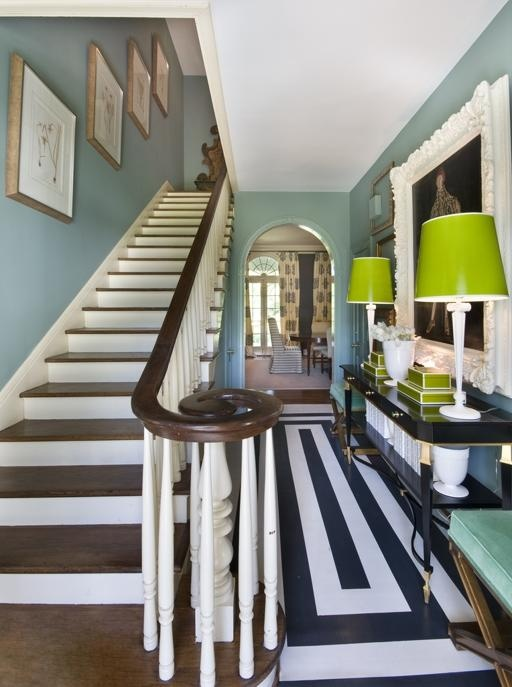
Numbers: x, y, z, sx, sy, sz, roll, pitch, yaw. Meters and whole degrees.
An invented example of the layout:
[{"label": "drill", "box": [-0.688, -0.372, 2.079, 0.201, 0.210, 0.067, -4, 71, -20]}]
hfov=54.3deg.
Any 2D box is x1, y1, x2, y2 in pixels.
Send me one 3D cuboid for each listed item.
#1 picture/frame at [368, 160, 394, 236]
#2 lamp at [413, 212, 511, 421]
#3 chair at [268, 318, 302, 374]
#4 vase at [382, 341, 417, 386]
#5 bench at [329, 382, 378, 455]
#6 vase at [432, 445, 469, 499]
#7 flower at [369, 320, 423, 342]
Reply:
[{"label": "picture/frame", "box": [1.037, -1.234, 4.372, 0.078, 0.530, 0.650, 7, 27, 33]}, {"label": "lamp", "box": [0.856, -0.101, 2.155, 0.361, 0.876, 0.364, 8, 8, 23]}, {"label": "chair", "box": [0.453, 0.029, 8.392, 0.629, 0.983, 0.731, -3, -2, 30]}, {"label": "vase", "box": [0.834, 0.099, 2.970, 0.206, 0.370, 0.230, 2, 5, 31]}, {"label": "bench", "box": [0.757, 0.677, 3.990, 0.331, 0.359, 0.651, 0, 6, 0]}, {"label": "vase", "box": [0.903, 0.598, 2.372, 0.184, 0.254, 0.204, -4, -7, 42]}, {"label": "flower", "box": [0.793, -0.067, 2.985, 0.157, 0.100, 0.168, 10, 16, 34]}]
